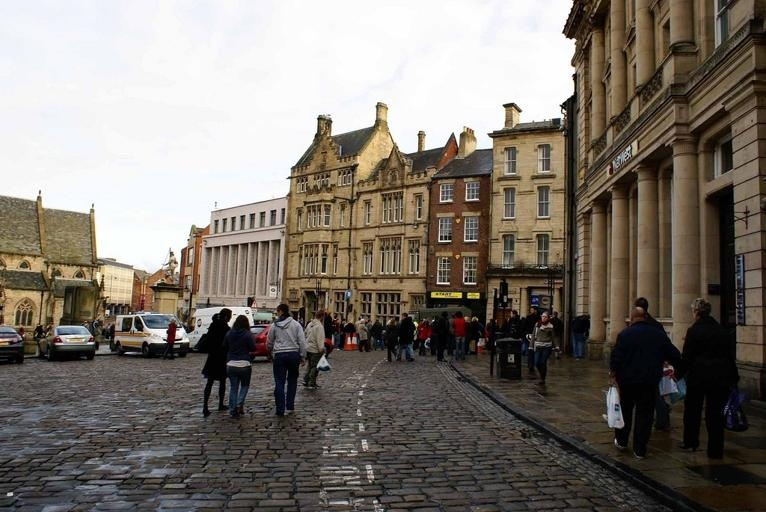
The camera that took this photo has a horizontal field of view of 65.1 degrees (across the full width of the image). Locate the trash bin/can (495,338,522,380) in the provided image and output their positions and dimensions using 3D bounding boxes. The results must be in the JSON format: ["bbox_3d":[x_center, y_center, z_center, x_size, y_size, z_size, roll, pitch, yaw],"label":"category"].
[{"bbox_3d":[3.859,3.170,18.577,0.744,1.226,0.574,-3,-9,14],"label":"trash bin/can"}]

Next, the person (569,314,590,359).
[{"bbox_3d":[8.849,3.536,26.765,0.753,1.972,1.315,-3,-9,18],"label":"person"}]

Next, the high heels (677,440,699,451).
[{"bbox_3d":[5.235,3.262,10.396,0.395,0.149,0.131,8,11,35],"label":"high heels"}]

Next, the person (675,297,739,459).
[{"bbox_3d":[5.473,2.022,10.135,0.881,2.584,0.593,-4,-9,23],"label":"person"}]

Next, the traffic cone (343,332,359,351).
[{"bbox_3d":[-2.052,5.215,36.736,1.163,1.047,1.082,2,-4,-14],"label":"traffic cone"}]

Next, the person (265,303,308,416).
[{"bbox_3d":[-2.200,2.268,13.402,0.834,2.380,1.074,1,-9,-9],"label":"person"}]

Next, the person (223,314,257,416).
[{"bbox_3d":[-3.162,2.344,13.090,0.622,2.141,0.769,1,-9,-12],"label":"person"}]

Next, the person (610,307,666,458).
[{"bbox_3d":[4.330,2.086,10.093,0.896,2.407,0.454,-3,-9,18],"label":"person"}]

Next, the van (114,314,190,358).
[{"bbox_3d":[-12.300,4.120,31.632,2.194,1.726,4.352,8,-14,-44],"label":"van"}]

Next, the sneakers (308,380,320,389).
[{"bbox_3d":[-2.003,3.621,16.977,0.219,0.241,0.602,2,-14,-9],"label":"sneakers"}]

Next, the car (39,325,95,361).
[{"bbox_3d":[-14.969,4.110,28.666,2.060,1.559,1.290,2,-9,-18],"label":"car"}]

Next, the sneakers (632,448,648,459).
[{"bbox_3d":[4.270,3.213,9.898,0.345,0.172,0.168,5,-10,-35],"label":"sneakers"}]
